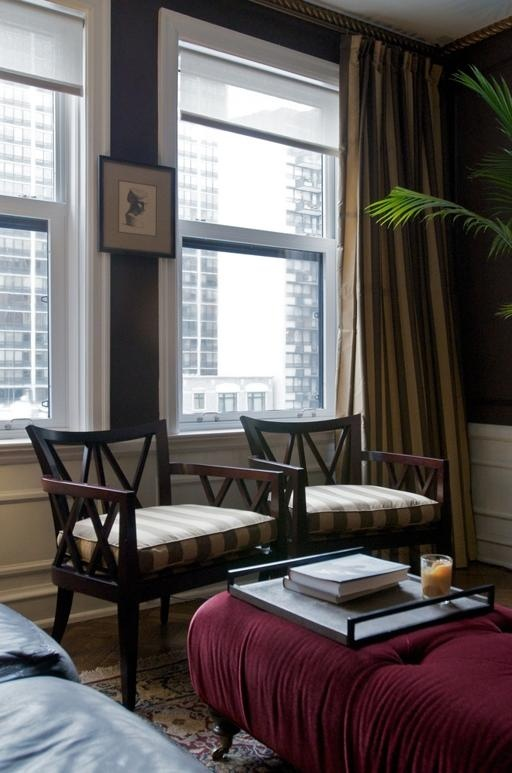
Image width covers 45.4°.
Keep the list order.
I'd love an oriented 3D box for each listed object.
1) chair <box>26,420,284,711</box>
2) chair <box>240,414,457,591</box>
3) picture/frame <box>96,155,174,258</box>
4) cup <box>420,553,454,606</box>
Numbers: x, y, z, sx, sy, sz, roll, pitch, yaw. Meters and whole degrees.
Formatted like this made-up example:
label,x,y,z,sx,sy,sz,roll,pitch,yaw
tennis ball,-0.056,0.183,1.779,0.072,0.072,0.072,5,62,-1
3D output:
label,x,y,z,sx,sy,sz,roll,pitch,yaw
chair,-0.292,0.434,1.940,0.619,0.845,0.697,2,-5,-40
chair,0.280,0.393,2.334,0.592,0.702,0.717,1,-6,-25
picture/frame,-0.463,-0.673,2.277,0.018,0.444,0.382,0,-1,43
cup,0.341,0.365,1.155,0.069,0.119,0.071,1,-7,0
